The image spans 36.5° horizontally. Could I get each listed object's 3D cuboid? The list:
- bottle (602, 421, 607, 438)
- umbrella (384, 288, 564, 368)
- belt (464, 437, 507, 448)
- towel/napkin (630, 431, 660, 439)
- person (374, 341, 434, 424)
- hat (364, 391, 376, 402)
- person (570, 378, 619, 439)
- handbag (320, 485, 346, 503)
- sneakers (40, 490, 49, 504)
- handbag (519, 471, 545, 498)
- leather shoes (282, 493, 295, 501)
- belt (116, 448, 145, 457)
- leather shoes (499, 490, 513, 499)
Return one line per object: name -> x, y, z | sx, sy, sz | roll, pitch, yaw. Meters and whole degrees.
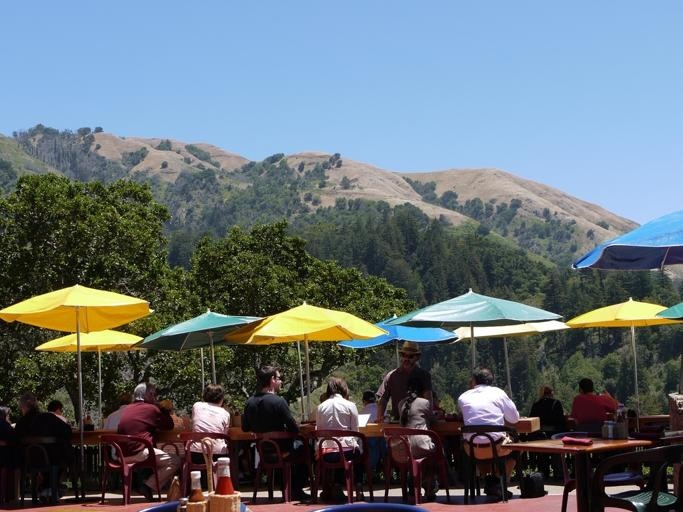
bottle -> 3.484, 2.292, 13.678 | 0.084, 0.217, 0.197 | -4, -10, 8
umbrella -> 2.132, 0.970, 16.792 | 1.804, 1.177, 1.778 | -1, -11, 3
belt -> 2.072, 2.654, 14.765 | 0.289, 0.069, 0.309 | -1, -4, 43
towel/napkin -> 4.605, 2.711, 15.702 | 0.269, 0.061, 0.256 | -1, -2, 18
person -> 1.063, 2.414, 16.663 | 0.998, 1.970, 0.532 | -4, -9, 4
hat -> 0.460, 2.302, 17.034 | 0.178, 0.221, 0.217 | 7, -10, -10
person -> 4.016, 2.575, 16.608 | 0.771, 1.145, 0.664 | -7, 4, -40
handbag -> -0.141, 3.514, 15.308 | 0.317, 0.154, 0.221 | -4, -5, 32
sneakers -> -4.494, 3.635, 15.676 | 0.192, 0.184, 0.136 | -13, -16, 27
handbag -> 2.873, 3.399, 15.374 | 0.345, 0.425, 0.328 | -13, -14, 37
leather shoes -> -0.806, 3.584, 15.428 | 0.186, 0.167, 0.066 | 1, 4, 7
belt -> -3.124, 2.921, 15.464 | 0.206, 0.081, 0.217 | 1, 4, 1
leather shoes -> 2.430, 3.501, 15.152 | 0.169, 0.077, 0.190 | 1, -2, 30
